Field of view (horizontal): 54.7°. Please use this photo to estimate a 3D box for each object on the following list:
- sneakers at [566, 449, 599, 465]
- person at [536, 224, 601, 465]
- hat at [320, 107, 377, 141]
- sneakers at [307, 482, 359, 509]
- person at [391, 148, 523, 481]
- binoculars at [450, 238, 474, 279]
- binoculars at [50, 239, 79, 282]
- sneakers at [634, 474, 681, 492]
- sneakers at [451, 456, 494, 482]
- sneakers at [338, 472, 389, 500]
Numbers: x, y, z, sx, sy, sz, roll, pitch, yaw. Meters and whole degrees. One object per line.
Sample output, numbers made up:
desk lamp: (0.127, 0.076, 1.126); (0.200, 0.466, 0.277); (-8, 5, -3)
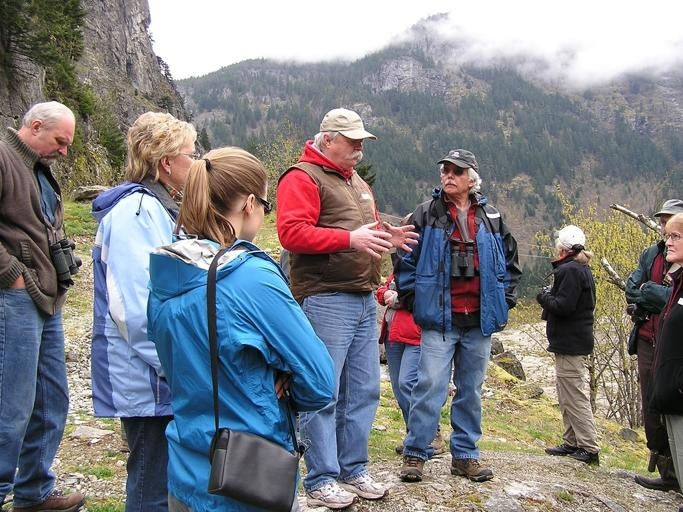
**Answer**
sneakers: (2.871, 2.383, 7.882); (0.329, 0.173, 0.194); (0, -7, 20)
person: (2.843, 1.026, 8.255); (0.679, 2.979, 0.726); (0, -6, 22)
hat: (0.018, -1.206, 6.159); (0.507, 0.287, 0.375); (2, 5, 2)
sneakers: (-0.052, 2.045, 5.650); (0.406, 0.235, 0.187); (1, 2, 4)
person: (1.170, 0.529, 6.548); (1.218, 3.288, 0.967); (3, -8, -2)
binoculars: (1.179, 0.012, 6.403); (0.253, 0.332, 0.123); (-3, -7, 4)
binoculars: (-2.341, 0.018, 5.715); (0.102, 0.387, 0.384); (-15, -8, 3)
sneakers: (3.451, 2.467, 7.265); (0.420, 0.207, 0.151); (5, -6, 20)
sneakers: (1.253, 2.031, 6.342); (0.415, 0.230, 0.168); (-1, 5, 32)
sneakers: (0.230, 2.024, 5.951); (0.436, 0.231, 0.179); (12, -1, 16)
